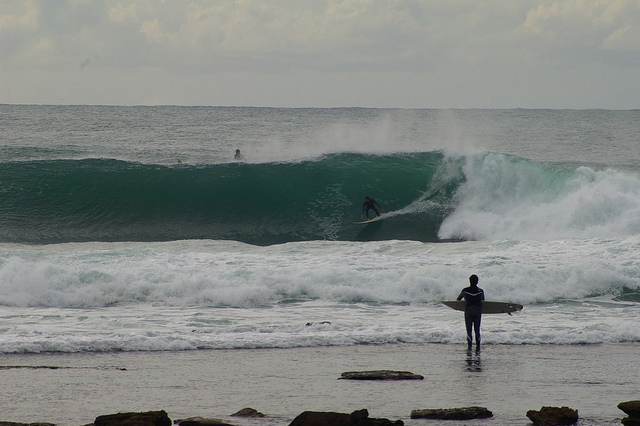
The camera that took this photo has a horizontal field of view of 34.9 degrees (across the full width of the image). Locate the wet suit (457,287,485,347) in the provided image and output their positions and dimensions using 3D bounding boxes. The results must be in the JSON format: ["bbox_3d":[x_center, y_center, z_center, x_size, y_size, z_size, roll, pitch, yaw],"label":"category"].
[{"bbox_3d":[3.901,2.678,26.438,0.631,1.448,0.734,2,15,7],"label":"wet suit"}]

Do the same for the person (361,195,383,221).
[{"bbox_3d":[1.874,-0.166,36.636,0.770,0.850,1.317,1,13,3],"label":"person"}]
